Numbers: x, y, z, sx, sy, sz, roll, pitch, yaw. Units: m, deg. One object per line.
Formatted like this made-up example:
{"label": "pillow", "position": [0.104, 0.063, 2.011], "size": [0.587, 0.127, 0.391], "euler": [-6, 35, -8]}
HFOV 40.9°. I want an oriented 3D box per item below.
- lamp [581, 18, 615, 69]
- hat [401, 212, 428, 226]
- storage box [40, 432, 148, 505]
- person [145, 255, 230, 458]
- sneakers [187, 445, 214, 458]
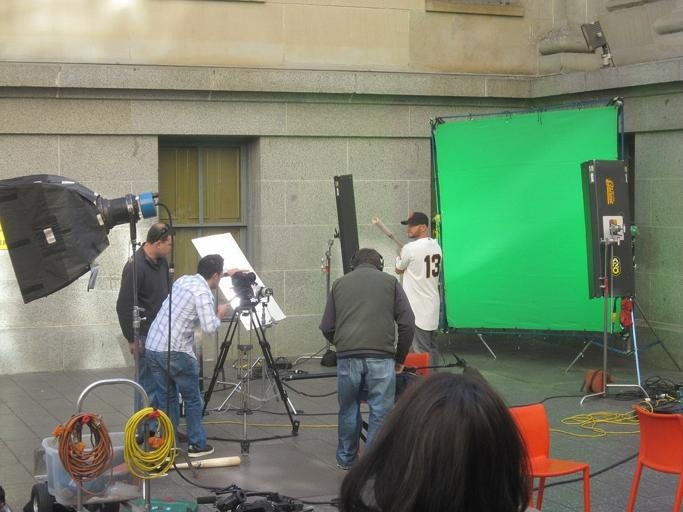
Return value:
{"label": "lamp", "position": [3.891, -3.262, 13.856], "size": [0.333, 0.195, 0.884], "euler": [7, -36, 29]}
{"label": "hat", "position": [0.996, -0.487, 12.234], "size": [0.283, 0.173, 0.212], "euler": [0, 2, -9]}
{"label": "storage box", "position": [-2.189, 1.854, 7.992], "size": [0.769, 0.641, 0.900], "euler": [-4, 5, -24]}
{"label": "person", "position": [-1.643, 1.102, 9.949], "size": [0.920, 2.156, 1.055], "euler": [-3, 5, -14]}
{"label": "sneakers", "position": [-1.526, 2.128, 9.971], "size": [0.276, 0.119, 0.105], "euler": [-3, 5, -39]}
